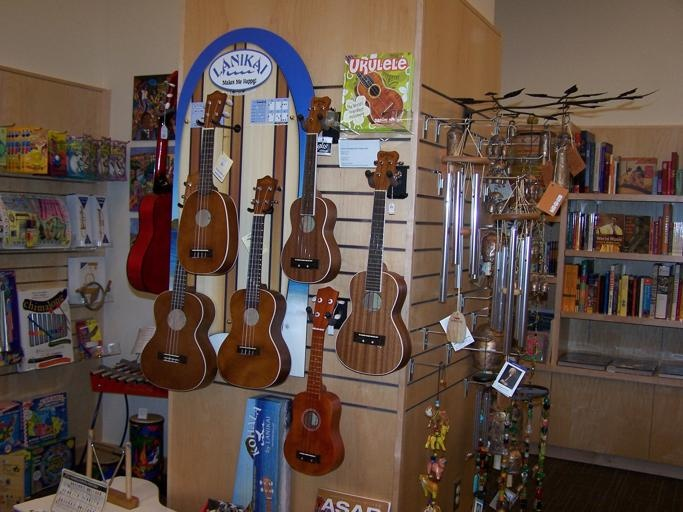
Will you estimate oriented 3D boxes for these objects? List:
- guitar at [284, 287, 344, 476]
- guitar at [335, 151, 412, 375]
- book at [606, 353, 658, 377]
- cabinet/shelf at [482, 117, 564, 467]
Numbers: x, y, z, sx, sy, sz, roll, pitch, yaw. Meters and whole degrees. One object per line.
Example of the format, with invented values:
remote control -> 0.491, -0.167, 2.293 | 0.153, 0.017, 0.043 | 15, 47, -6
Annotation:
guitar -> -0.136, 0.683, 3.290 | 0.312, 1.016, 0.215 | 6, 7, 34
guitar -> 0.185, 0.031, 3.210 | 0.407, 1.194, 0.187 | 3, 5, 6
book -> 2.633, 0.980, 5.363 | 0.395, 0.056, 0.552 | 7, 8, 28
cabinet/shelf -> 1.152, 0.106, 3.876 | 0.521, 2.004, 1.531 | 4, 6, 18
